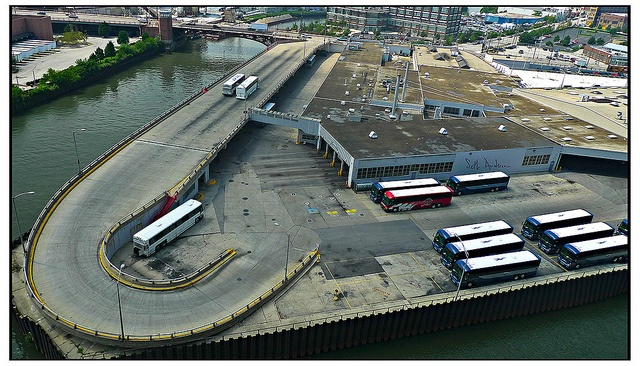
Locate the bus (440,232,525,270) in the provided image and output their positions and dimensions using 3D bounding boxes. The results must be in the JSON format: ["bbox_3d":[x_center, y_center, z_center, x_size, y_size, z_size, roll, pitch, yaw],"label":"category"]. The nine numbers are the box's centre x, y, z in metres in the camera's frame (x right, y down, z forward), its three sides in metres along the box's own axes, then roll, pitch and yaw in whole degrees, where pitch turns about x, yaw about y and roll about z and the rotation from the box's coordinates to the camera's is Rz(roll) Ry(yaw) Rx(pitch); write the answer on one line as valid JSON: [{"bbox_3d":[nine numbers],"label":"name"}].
[{"bbox_3d":[37.406,15.466,100.779,21.266,3.787,4.809,-5,19,-19],"label":"bus"}]

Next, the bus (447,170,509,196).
[{"bbox_3d":[43.410,0.094,119.896,15.834,4.404,3.790,-6,35,-13],"label":"bus"}]

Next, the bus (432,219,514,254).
[{"bbox_3d":[37.776,13.342,104.245,21.263,4.530,4.921,-3,-1,-19],"label":"bus"}]

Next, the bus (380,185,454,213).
[{"bbox_3d":[24.760,4.171,113.302,20.062,4.394,5.430,-4,26,-20],"label":"bus"}]
